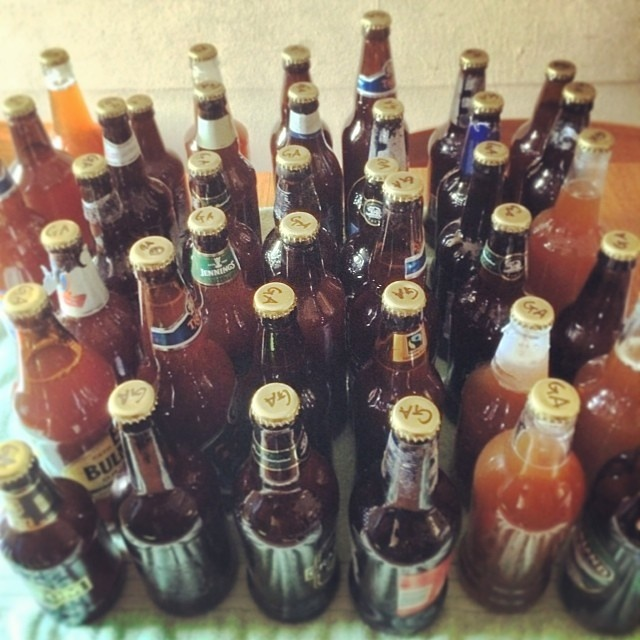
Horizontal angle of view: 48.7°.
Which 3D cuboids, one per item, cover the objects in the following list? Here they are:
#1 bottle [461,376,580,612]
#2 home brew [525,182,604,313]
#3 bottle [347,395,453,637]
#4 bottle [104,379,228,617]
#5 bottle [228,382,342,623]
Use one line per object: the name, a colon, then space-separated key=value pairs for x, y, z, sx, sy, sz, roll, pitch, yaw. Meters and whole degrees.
bottle: x=0.242 y=0.225 z=0.870 sx=0.143 sy=0.356 sz=0.083 roll=9 pitch=38 yaw=21
home brew: x=0.358 y=-0.109 z=1.048 sx=0.105 sy=0.196 sz=0.106 roll=15 pitch=40 yaw=27
bottle: x=0.099 y=0.235 z=0.875 sx=0.146 sy=0.361 sz=0.144 roll=-4 pitch=35 yaw=3
bottle: x=-0.185 y=0.229 z=0.868 sx=0.124 sy=0.371 sz=0.088 roll=-15 pitch=36 yaw=-12
bottle: x=-0.039 y=0.238 z=0.871 sx=0.139 sy=0.371 sz=0.097 roll=-14 pitch=36 yaw=-10
